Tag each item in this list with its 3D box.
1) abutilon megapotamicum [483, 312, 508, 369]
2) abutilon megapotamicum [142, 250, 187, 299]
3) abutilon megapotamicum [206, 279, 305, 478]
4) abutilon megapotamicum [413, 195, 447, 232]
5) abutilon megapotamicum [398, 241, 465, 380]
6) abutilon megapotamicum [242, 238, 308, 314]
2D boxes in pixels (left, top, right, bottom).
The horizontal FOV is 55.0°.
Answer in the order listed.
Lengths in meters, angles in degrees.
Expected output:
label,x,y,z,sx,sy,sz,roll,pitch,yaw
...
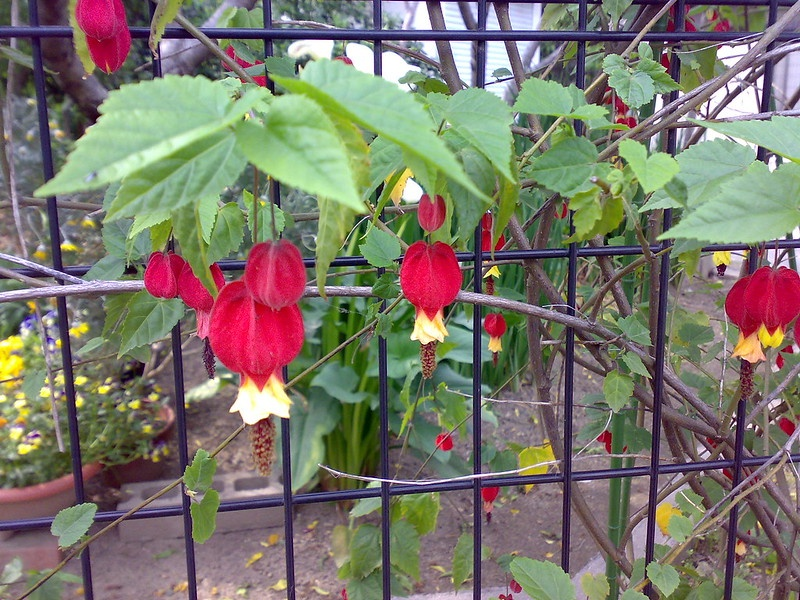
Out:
label,x,y,z,sx,sy,sz,roll,pitch,yaw
abutilon megapotamicum,0.342,0.141,2.715,0.082,0.193,0.087,-5,11,-30
abutilon megapotamicum,-0.592,-0.063,2.005,0.113,0.155,0.114,6,9,16
abutilon megapotamicum,-0.295,0.169,1.659,0.193,0.407,0.186,-4,4,-37
abutilon megapotamicum,0.069,-0.207,1.889,0.079,0.109,0.122,4,17,18
abutilon megapotamicum,0.079,0.042,1.933,0.148,0.395,0.167,0,16,3
abutilon megapotamicum,-0.259,-0.046,1.592,0.122,0.156,0.150,-3,-7,6
